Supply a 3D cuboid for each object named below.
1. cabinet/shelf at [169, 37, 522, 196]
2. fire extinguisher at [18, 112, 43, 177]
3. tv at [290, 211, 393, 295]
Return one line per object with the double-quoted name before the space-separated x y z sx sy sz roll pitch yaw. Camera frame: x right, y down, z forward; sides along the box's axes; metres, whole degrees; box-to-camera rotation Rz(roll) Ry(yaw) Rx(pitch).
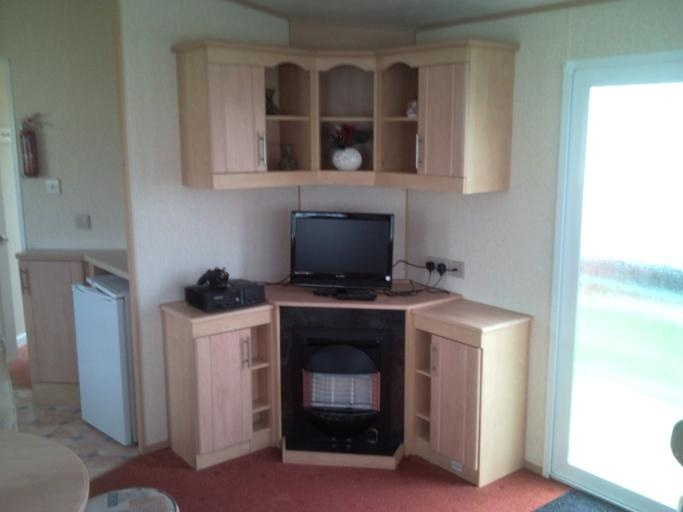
"cabinet/shelf" 0.003 -0.990 4.035 2.329 1.046 1.098 -1 9 -11
"fire extinguisher" -2.674 -0.957 5.001 0.218 0.538 0.058 -1 10 1
"tv" -0.002 -0.037 4.255 0.577 0.463 0.080 1 3 4
